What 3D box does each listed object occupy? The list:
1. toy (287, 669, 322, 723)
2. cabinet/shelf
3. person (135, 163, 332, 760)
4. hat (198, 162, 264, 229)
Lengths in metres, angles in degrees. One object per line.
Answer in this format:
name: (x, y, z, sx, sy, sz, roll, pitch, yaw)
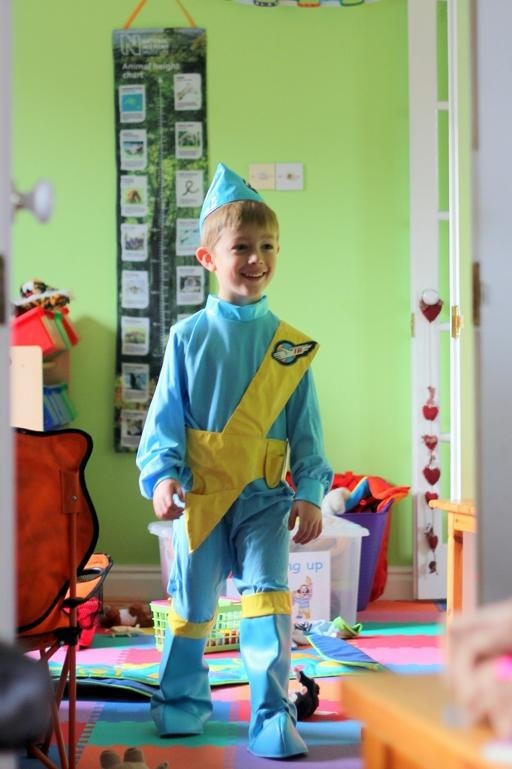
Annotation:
toy: (0.110, 0.704, 1.969, 0.072, 0.083, 0.038, 12, -16, -32)
cabinet/shelf: (-0.707, 0.009, 2.896, 0.127, 0.263, 0.297, -3, 2, 5)
person: (-0.043, 0.136, 1.827, 0.401, 0.862, 0.265, 1, 0, -8)
hat: (-0.031, -0.421, 1.931, 0.146, 0.128, 0.122, -3, -15, 9)
